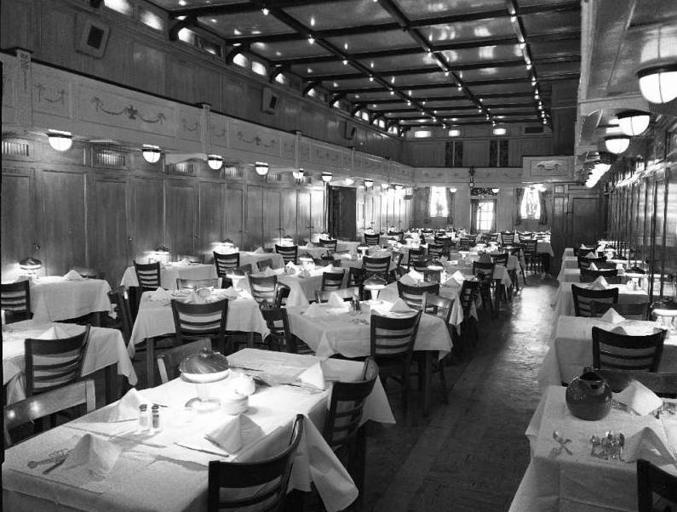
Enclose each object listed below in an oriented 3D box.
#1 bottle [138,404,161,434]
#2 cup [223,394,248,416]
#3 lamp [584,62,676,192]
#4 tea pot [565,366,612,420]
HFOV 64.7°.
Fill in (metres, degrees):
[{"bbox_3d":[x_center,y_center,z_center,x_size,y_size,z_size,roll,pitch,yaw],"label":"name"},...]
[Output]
[{"bbox_3d":[-1.030,0.891,2.911,0.115,0.186,0.059,1,4,5],"label":"bottle"},{"bbox_3d":[-0.593,0.849,3.093,0.110,0.087,0.114,1,9,0],"label":"cup"},{"bbox_3d":[3.483,-1.483,6.333,0.654,0.696,3.817,-1,7,19],"label":"lamp"},{"bbox_3d":[1.437,0.767,3.103,0.239,0.258,0.231,1,3,0],"label":"tea pot"}]
